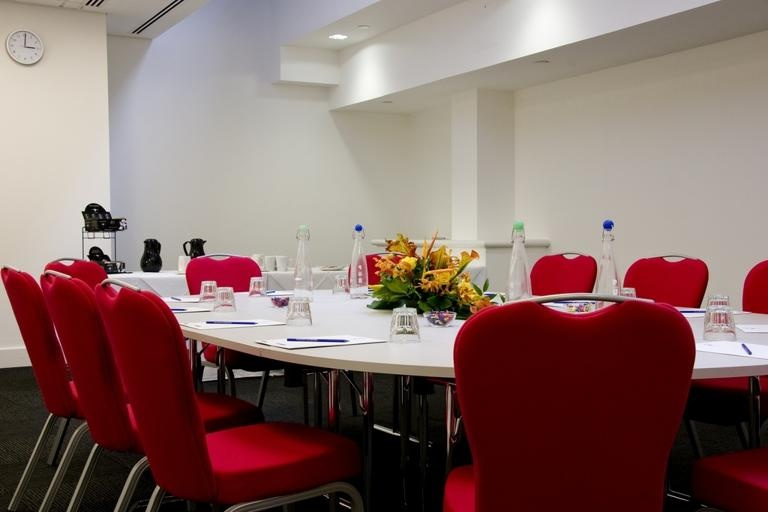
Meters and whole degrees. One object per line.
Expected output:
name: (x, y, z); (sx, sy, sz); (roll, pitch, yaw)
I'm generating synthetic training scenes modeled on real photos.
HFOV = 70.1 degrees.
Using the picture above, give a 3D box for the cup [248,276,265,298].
cup: (-0.787, 0.198, 3.416); (0.114, 0.127, 0.098); (6, -7, -41)

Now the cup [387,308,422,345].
cup: (0.071, 0.249, 1.952); (0.109, 0.141, 0.107); (0, 1, 0)

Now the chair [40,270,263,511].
chair: (-1.022, 0.512, 2.515); (0.908, 1.301, 0.767); (0, 0, -35)

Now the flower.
flower: (0.273, 0.118, 2.633); (0.442, 0.265, 0.453); (2, 2, 28)

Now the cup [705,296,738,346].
cup: (1.204, 0.220, 1.962); (0.099, 0.149, 0.182); (3, 4, 31)

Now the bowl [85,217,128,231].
bowl: (-2.684, -0.299, 5.223); (0.223, 0.084, 0.220); (1, 1, 0)

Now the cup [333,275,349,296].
cup: (-0.261, 0.182, 3.424); (0.105, 0.125, 0.106); (1, -1, 0)

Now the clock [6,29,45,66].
clock: (-3.657, -2.130, 5.537); (0.377, 0.395, 0.031); (-2, 1, -38)

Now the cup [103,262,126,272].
cup: (-2.517, 0.102, 5.058); (0.121, 0.058, 0.155); (1, -1, -41)

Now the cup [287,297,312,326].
cup: (-0.346, 0.227, 2.246); (0.099, 0.103, 0.105); (0, 1, 0)

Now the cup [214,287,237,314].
cup: (-0.760, 0.219, 2.647); (0.104, 0.105, 0.105); (0, 0, 0)
